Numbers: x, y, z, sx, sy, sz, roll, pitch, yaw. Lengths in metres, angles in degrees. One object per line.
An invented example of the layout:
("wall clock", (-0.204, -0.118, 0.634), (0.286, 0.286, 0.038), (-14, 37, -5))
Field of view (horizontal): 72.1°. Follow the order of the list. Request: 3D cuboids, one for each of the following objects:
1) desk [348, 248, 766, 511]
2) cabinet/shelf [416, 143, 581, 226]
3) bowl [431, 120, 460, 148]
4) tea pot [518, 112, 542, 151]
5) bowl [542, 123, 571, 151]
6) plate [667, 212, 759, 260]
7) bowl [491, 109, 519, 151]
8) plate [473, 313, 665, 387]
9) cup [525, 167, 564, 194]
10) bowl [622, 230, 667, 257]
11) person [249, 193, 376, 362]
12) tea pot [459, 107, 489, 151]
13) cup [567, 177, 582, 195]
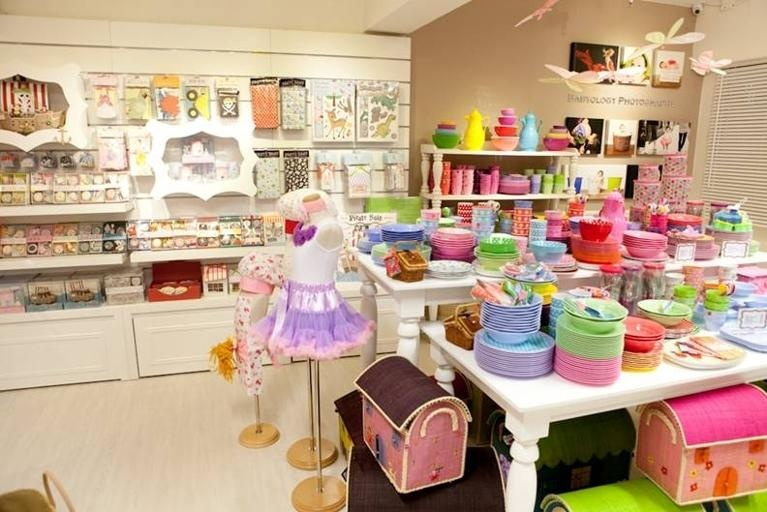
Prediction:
("desk", (0.873, 0.175, 3.298), (1.980, 0.961, 1.465), (-7, 18, -21))
("cabinet/shelf", (1.073, -0.731, 5.136), (1.008, 0.970, 0.343), (-2, 8, -14))
("bowl", (0.641, -1.246, 5.273), (0.266, 0.213, 0.248), (-1, 12, 0))
("tea pot", (1.558, -1.346, 5.630), (0.212, 0.404, 0.403), (1, 13, 13))
("bowl", (1.896, -1.309, 5.766), (0.293, 0.271, 0.311), (-1, 7, 0))
("plate", (2.427, -0.164, 3.824), (0.456, 0.182, 0.458), (-3, 15, -5))
("bowl", (1.291, -1.349, 5.569), (0.279, 0.421, 0.430), (1, 13, 11))
("plate", (1.223, 0.490, 2.999), (0.804, 0.398, 0.263), (-7, 14, -21))
("cup", (1.760, -0.854, 5.769), (0.263, 0.196, 0.375), (2, 14, 3))
("bowl", (1.804, -0.084, 3.630), (0.205, 0.114, 0.207), (0, 10, 0))
("person", (-0.499, 0.016, 4.053), (1.000, 1.328, 1.139), (-2, 6, -32))
("tea pot", (0.940, -1.324, 5.451), (0.236, 0.417, 0.489), (0, 13, 9))
("cup", (2.102, -0.788, 5.755), (0.181, 0.186, 0.184), (0, 8, 0))
